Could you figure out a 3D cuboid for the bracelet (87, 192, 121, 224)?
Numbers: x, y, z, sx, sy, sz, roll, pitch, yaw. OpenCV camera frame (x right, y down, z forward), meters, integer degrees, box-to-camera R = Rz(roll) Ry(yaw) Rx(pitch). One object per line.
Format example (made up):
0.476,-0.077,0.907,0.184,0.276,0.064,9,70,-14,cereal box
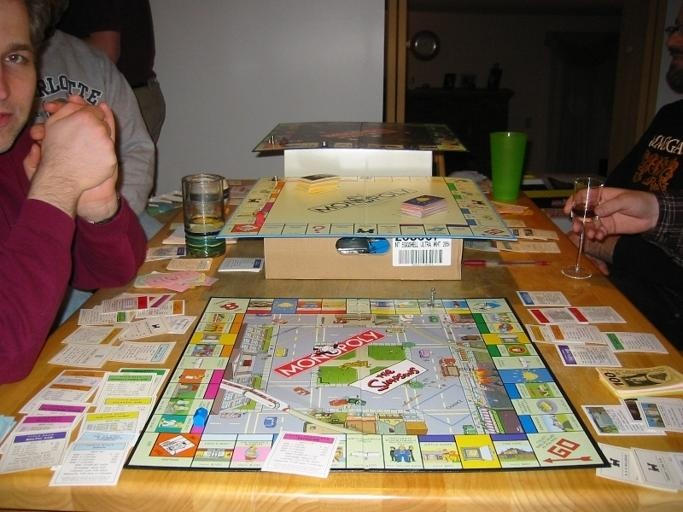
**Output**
-0.616,-0.128,1.290,0.090,0.055,0.084,4,40,-3,bracelet

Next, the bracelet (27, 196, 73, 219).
-0.628,-0.109,1.054,0.062,0.012,0.057,14,3,-41,bracelet

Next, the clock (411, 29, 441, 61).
0.607,-1.547,3.540,0.250,0.209,0.040,-14,30,-28,clock
